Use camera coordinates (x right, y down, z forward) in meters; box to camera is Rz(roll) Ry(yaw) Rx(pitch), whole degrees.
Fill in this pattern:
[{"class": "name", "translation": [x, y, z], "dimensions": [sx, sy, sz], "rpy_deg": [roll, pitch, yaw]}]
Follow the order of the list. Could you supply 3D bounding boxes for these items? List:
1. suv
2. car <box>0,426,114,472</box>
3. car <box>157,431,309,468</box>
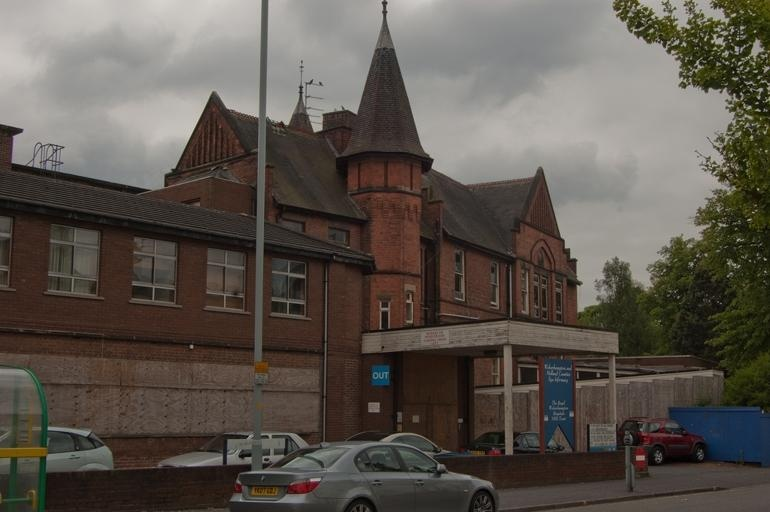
[{"class": "suv", "translation": [12.675, 8.564, 47.070], "dimensions": [4.144, 2.143, 1.455], "rpy_deg": [6, -15, -29]}, {"class": "car", "translation": [-9.605, 5.926, 30.822], "dimensions": [2.703, 1.259, 1.654], "rpy_deg": [7, -13, -21]}, {"class": "car", "translation": [-4.962, 6.563, 34.244], "dimensions": [3.617, 1.547, 2.212], "rpy_deg": [13, -18, -38]}]
